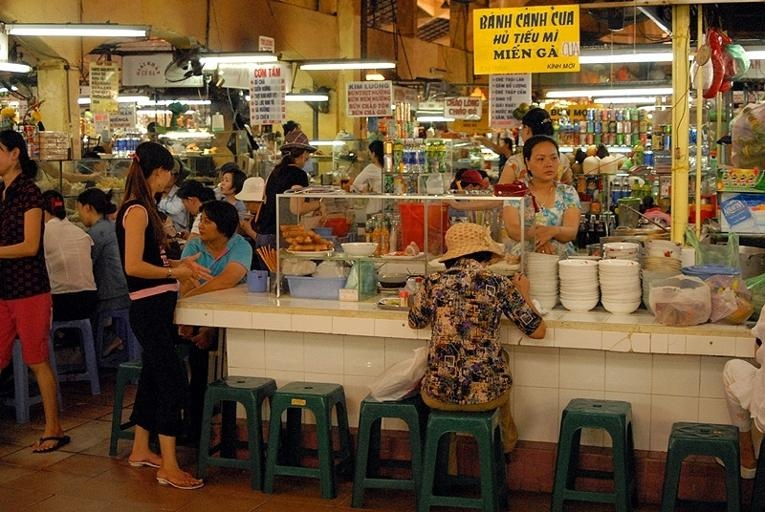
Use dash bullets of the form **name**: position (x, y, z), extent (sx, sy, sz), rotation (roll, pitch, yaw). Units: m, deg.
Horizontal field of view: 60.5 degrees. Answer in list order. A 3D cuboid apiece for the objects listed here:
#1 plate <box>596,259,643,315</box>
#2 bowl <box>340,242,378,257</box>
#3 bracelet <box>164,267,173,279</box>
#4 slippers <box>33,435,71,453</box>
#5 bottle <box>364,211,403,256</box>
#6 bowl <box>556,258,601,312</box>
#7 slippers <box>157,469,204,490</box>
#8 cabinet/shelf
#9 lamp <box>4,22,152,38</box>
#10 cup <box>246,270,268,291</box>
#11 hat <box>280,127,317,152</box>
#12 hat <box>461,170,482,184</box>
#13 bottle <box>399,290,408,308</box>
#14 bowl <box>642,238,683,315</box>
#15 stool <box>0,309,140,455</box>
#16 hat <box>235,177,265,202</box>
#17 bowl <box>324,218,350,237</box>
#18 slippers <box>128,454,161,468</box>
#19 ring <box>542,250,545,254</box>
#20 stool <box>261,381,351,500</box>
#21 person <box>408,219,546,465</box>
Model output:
- **plate**: position (1.736, 0.216, 4.806), extent (0.376, 0.463, 0.365), rotation (-2, 1, -5)
- **bowl**: position (-0.186, -0.065, 5.198), extent (0.258, 0.118, 0.181), rotation (2, 16, 23)
- **bracelet**: position (-1.619, 0.130, 4.944), extent (0.045, 0.064, 0.067), rotation (2, -37, -4)
- **slippers**: position (-2.896, 1.622, 5.643), extent (0.119, 0.078, 0.227), rotation (4, 5, 35)
- **bottle**: position (0.016, -0.184, 5.268), extent (0.336, 0.368, 0.329), rotation (0, -3, 3)
- **bowl**: position (1.441, 0.212, 4.756), extent (0.362, 0.392, 0.351), rotation (-1, 1, 0)
- **slippers**: position (-1.552, 1.706, 5.017), extent (0.309, 0.126, 0.148), rotation (3, -1, 1)
- **cabinet/shelf**: position (4.450, -1.519, 9.683), extent (0.881, 1.325, 2.278), rotation (3, 16, 26)
- **lamp**: position (-4.343, -3.218, 9.377), extent (2.332, 0.166, 0.373), rotation (-1, -10, -5)
- **cup**: position (-1.053, 0.212, 5.581), extent (0.179, 0.152, 0.163), rotation (0, 3, 12)
- **hat**: position (-0.941, -1.296, 7.184), extent (0.327, 0.157, 0.373), rotation (1, 1, 5)
- **hat**: position (1.009, -0.890, 7.415), extent (0.240, 0.165, 0.247), rotation (-5, 15, -3)
- **bottle**: position (0.159, 0.319, 4.890), extent (0.068, 0.108, 0.111), rotation (-4, 15, 2)
- **bowl**: position (2.106, 0.135, 4.917), extent (0.271, 0.409, 0.783), rotation (3, 16, 25)
- **stool**: position (-3.217, 1.141, 6.465), extent (1.187, 1.094, 1.131), rotation (-4, -6, 0)
- **hat**: position (-1.449, -0.741, 7.259), extent (0.280, 0.146, 0.355), rotation (-2, 5, -1)
- **bowl**: position (-0.405, -0.268, 5.988), extent (0.190, 0.144, 0.185), rotation (0, -3, 0)
- **slippers**: position (-1.937, 1.663, 5.297), extent (0.236, 0.092, 0.120), rotation (-4, 5, -4)
- **ring**: position (1.317, -0.035, 5.301), extent (0.032, 0.030, 0.056), rotation (-3, -7, 18)
- **stool**: position (-0.542, 1.343, 5.203), extent (0.783, 0.939, 0.756), rotation (1, 5, 17)
- **person**: position (0.609, 0.414, 4.439), extent (0.860, 1.189, 0.553), rotation (-4, 14, 1)
